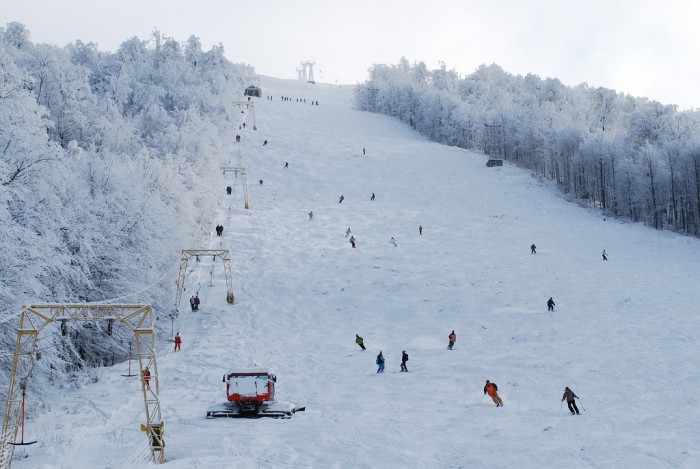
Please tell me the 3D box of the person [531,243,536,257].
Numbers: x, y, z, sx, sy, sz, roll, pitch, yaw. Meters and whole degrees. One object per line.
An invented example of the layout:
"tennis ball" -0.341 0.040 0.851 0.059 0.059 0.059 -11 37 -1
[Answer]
"person" 18.361 1.487 79.353 0.635 0.945 1.416 5 6 12

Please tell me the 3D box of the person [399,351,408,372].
"person" 4.328 9.955 63.094 0.615 1.568 1.319 4 6 3

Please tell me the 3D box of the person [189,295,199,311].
"person" -13.797 6.131 70.661 0.784 1.252 0.681 4 6 0

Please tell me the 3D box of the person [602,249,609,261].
"person" 25.093 2.045 78.330 0.292 0.923 0.846 -7 11 12

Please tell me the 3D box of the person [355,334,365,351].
"person" 0.877 8.893 66.308 0.788 1.318 1.819 3 6 -1

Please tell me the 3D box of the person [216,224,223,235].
"person" -13.347 -0.431 81.272 0.675 1.049 0.973 3 6 -7

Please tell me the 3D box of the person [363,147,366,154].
"person" 1.796 -11.009 104.892 0.304 0.942 0.374 -5 -15 31

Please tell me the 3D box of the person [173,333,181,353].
"person" -14.263 8.732 65.869 0.656 1.244 2.190 2 6 -11

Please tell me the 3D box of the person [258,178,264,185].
"person" -10.572 -6.081 93.019 0.531 0.618 0.872 3 -9 -6

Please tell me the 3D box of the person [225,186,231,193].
"person" -13.683 -5.007 90.017 0.504 0.725 0.307 2 4 25

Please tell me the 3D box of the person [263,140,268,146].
"person" -11.284 -12.064 105.399 0.585 0.579 1.630 9 13 -14

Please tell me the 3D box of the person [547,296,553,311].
"person" 17.634 6.153 69.860 0.626 1.067 0.874 5 6 15

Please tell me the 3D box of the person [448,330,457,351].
"person" 8.522 8.710 66.286 0.711 1.337 1.985 4 6 8
